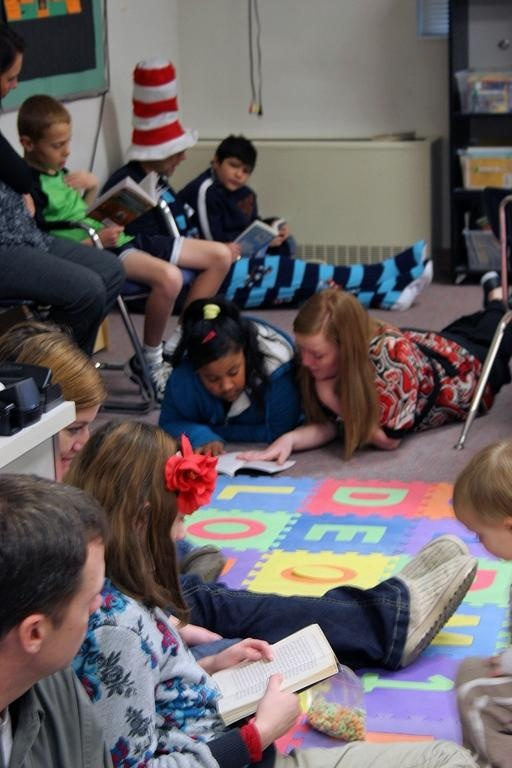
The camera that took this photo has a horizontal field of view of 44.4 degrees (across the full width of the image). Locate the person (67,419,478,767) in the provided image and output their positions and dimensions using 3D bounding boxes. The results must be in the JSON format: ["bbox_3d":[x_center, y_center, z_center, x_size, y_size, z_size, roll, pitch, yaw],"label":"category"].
[{"bbox_3d":[0.001,0.205,1.169,0.766,0.555,0.379,-14,35,-13],"label":"person"}]

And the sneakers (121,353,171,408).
[{"bbox_3d":[-0.453,-0.010,2.646,0.228,0.160,0.078,25,43,6],"label":"sneakers"}]

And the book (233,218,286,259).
[{"bbox_3d":[0.017,-0.842,3.611,0.234,0.132,0.359,-40,-17,32],"label":"book"}]

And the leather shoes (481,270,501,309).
[{"bbox_3d":[1.061,-0.446,2.842,0.071,0.200,0.080,-10,-35,40],"label":"leather shoes"}]

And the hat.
[{"bbox_3d":[-0.486,-1.397,3.165,0.378,0.424,0.375,14,44,10],"label":"hat"}]

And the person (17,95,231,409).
[{"bbox_3d":[-0.609,-0.634,2.801,0.820,1.238,0.608,5,18,19],"label":"person"}]

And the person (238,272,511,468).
[{"bbox_3d":[0.543,-0.161,2.531,1.419,0.595,0.456,-22,22,-29],"label":"person"}]
